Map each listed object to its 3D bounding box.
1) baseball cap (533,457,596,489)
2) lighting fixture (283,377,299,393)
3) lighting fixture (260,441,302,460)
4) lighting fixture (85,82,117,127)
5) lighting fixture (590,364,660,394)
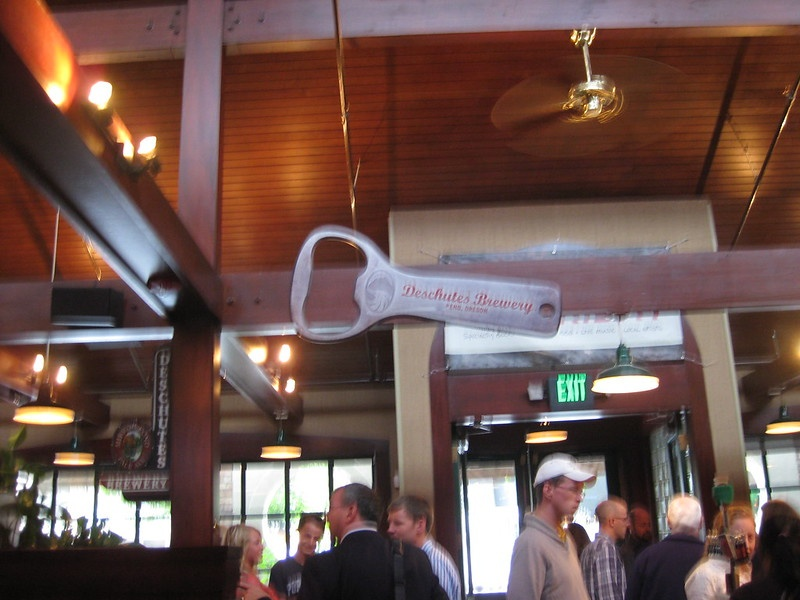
[{"bbox_3d":[0.985,1.018,5.022,0.317,0.172,0.206,-19,-17,19],"label":"baseball cap"},{"bbox_3d":[-1.557,1.204,11.627,0.165,0.215,0.050,1,14,-34],"label":"lighting fixture"},{"bbox_3d":[-1.662,2.142,11.729,0.440,0.102,0.439,8,-18,-30],"label":"lighting fixture"},{"bbox_3d":[-1.704,-1.140,4.786,0.108,0.304,0.230,-3,-20,0],"label":"lighting fixture"},{"bbox_3d":[2.021,0.696,7.430,0.543,0.143,0.491,-5,-20,7],"label":"lighting fixture"}]
